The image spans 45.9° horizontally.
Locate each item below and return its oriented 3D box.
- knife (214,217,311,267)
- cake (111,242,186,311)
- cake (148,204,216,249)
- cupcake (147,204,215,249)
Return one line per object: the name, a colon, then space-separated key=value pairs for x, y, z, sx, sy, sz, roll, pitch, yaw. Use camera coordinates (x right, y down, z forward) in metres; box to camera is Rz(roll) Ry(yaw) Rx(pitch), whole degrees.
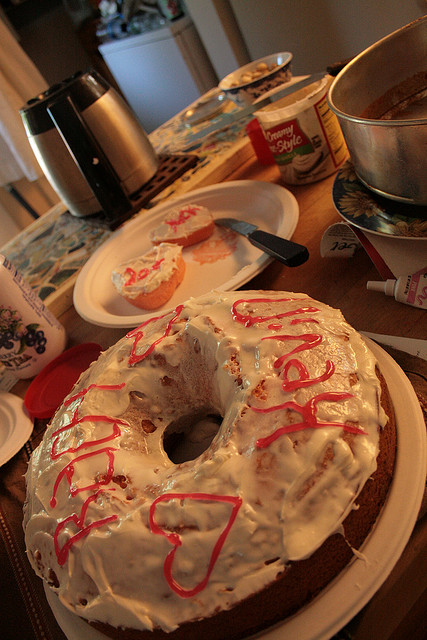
knife: x=0.063 y=-0.160 z=0.873 sx=0.051 sy=0.028 sz=0.359 roll=-30 pitch=25 yaw=-6
cake: x=-0.118 y=-0.080 z=0.992 sx=0.177 sy=0.120 sz=0.137 roll=-16 pitch=30 yaw=-27
cake: x=-0.061 y=-0.198 z=1.029 sx=0.106 sy=0.037 sz=0.106 roll=1 pitch=42 yaw=24
cupcake: x=-0.066 y=-0.197 z=1.030 sx=0.104 sy=0.034 sz=0.105 roll=3 pitch=42 yaw=29
